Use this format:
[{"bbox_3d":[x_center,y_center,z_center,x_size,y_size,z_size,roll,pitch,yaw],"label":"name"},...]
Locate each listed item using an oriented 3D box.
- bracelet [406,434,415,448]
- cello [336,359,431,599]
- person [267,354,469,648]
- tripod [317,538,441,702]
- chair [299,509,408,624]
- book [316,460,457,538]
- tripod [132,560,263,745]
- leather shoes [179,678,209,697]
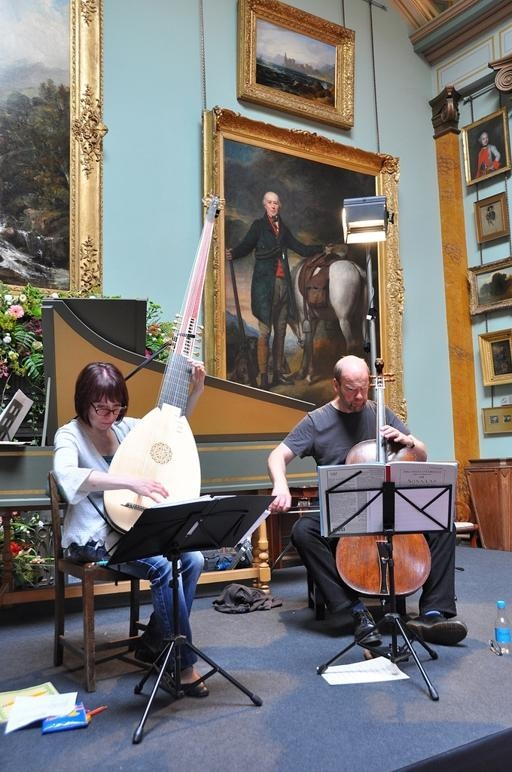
[{"bbox_3d":[0.622,0.221,2.690,0.024,0.046,0.033,-9,9,16],"label":"bracelet"},{"bbox_3d":[0.443,0.357,2.325,0.335,0.857,0.138,-3,25,6],"label":"cello"},{"bbox_3d":[0.402,0.422,2.742,0.720,1.070,0.948,0,-3,-15],"label":"person"},{"bbox_3d":[0.459,0.700,2.359,0.369,0.575,0.413,-3,-8,14],"label":"tripod"},{"bbox_3d":[0.295,0.724,2.699,0.236,0.417,0.125,-11,-14,-19],"label":"chair"},{"bbox_3d":[0.415,0.357,2.121,0.436,0.228,0.169,-3,-7,0],"label":"book"},{"bbox_3d":[-0.200,0.749,1.994,0.390,0.425,0.429,3,-18,-24],"label":"tripod"},{"bbox_3d":[-0.185,0.890,1.994,0.041,0.033,0.112,8,-19,-36],"label":"leather shoes"}]
